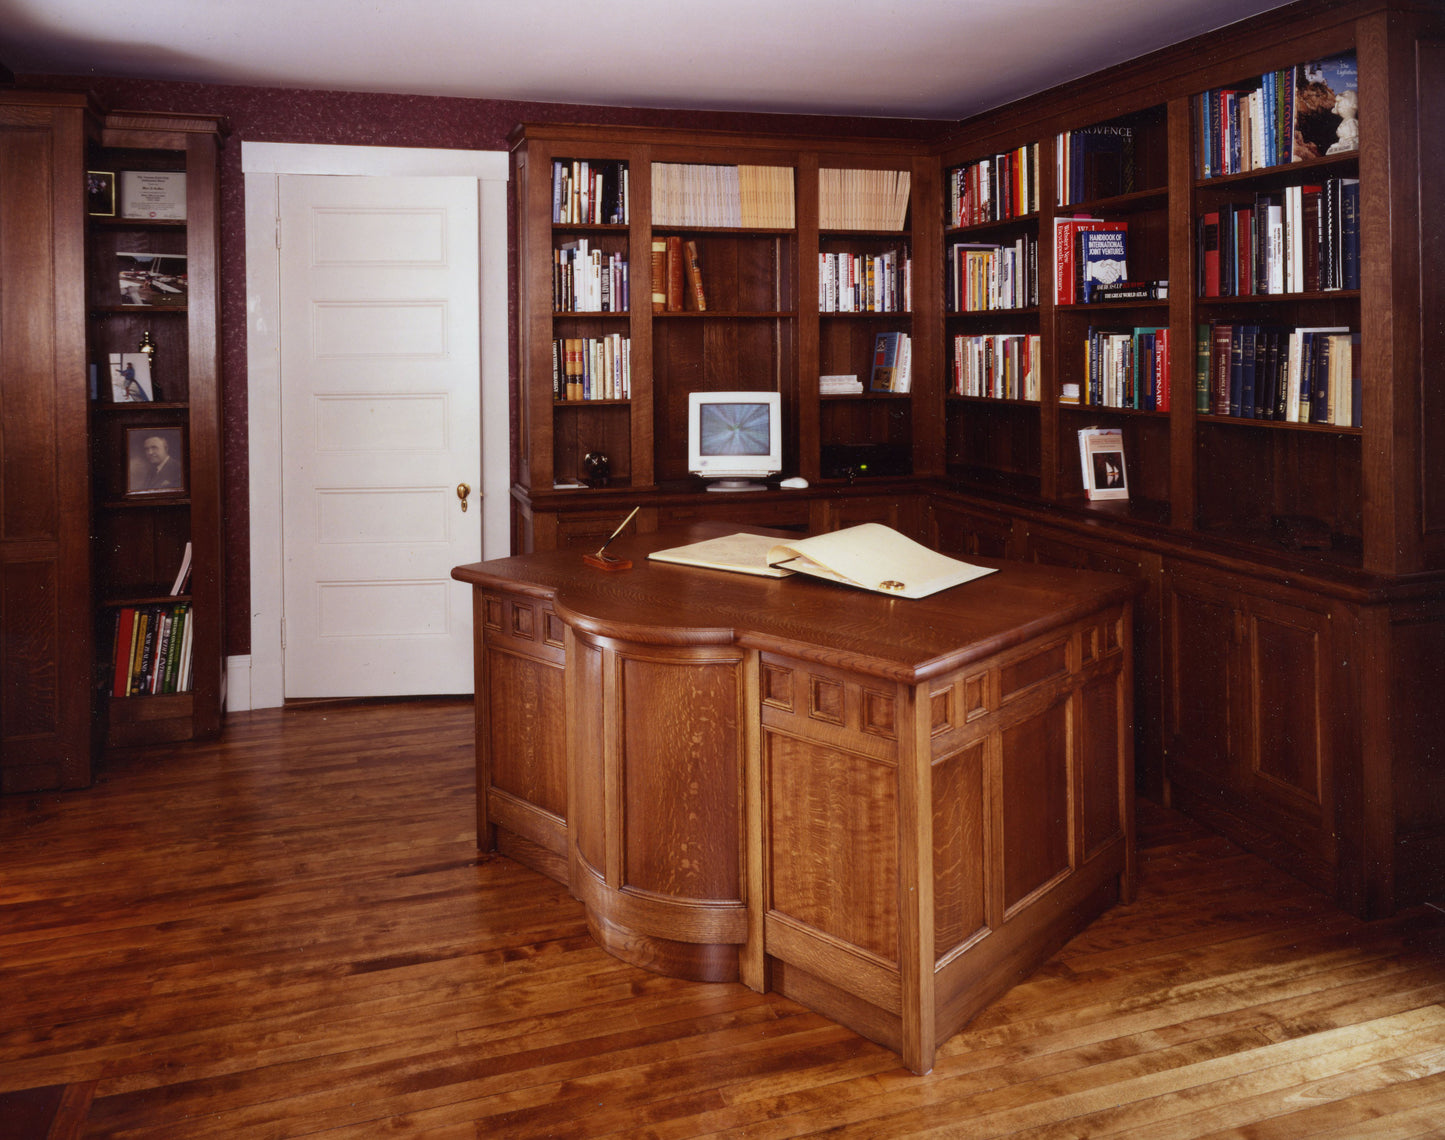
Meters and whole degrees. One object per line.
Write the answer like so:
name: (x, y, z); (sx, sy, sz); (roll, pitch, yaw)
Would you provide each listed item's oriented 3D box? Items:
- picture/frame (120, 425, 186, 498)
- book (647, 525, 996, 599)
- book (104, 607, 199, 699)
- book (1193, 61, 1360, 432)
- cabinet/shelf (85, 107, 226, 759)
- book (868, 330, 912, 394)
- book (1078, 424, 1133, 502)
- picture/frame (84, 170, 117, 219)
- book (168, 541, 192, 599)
picture/frame: (-2.571, -0.490, 5.241); (0.294, 0.430, 0.041); (-1, 3, -13)
book: (0.250, -0.043, 3.527); (0.735, 0.086, 0.414); (13, 15, 38)
book: (-2.519, 0.326, 5.246); (0.376, 0.561, 0.363); (1, 4, -26)
book: (1.977, -1.094, 3.973); (0.314, 1.163, 0.798); (-4, 11, -16)
cabinet/shelf: (-2.575, -0.879, 5.248); (0.621, 2.663, 0.393); (-6, -21, -12)
book: (0.867, -1.056, 5.948); (0.291, 0.383, 0.207); (4, 7, 29)
book: (1.653, -0.454, 5.026); (0.318, 0.460, 0.092); (-1, 0, -17)
picture/frame: (-2.623, -1.592, 4.930); (0.116, 0.195, 0.269); (-6, 13, -24)
book: (-2.443, -0.009, 5.248); (0.034, 0.302, 0.224); (17, -5, -26)
